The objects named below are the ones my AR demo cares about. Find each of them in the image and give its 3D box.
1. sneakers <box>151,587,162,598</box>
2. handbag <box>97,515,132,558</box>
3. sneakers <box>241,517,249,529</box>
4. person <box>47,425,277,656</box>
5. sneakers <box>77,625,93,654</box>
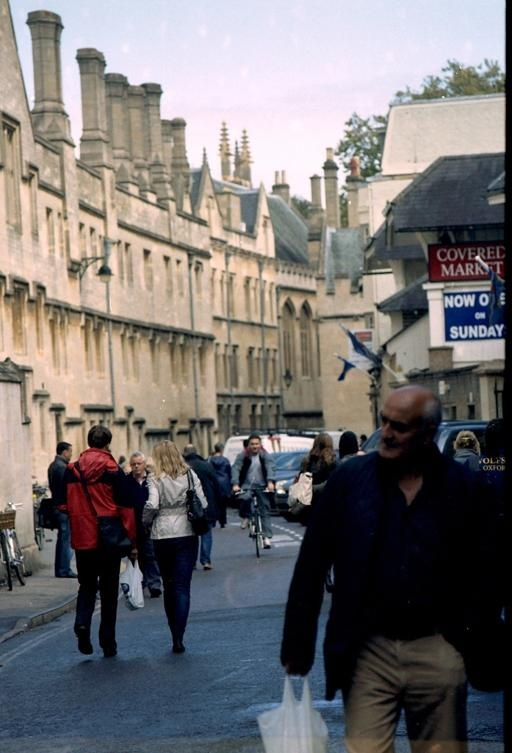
[{"bbox_3d":[-1.087,2.382,14.560,0.072,0.143,0.126,5,8,33],"label":"sneakers"},{"bbox_3d":[-1.049,1.160,9.634,0.199,0.297,0.154,-12,6,-6],"label":"handbag"},{"bbox_3d":[-0.174,2.268,20.359,0.082,0.122,0.292,-16,-11,1],"label":"sneakers"},{"bbox_3d":[-0.960,1.209,10.123,1.025,1.529,1.146,-7,2,-10],"label":"person"},{"bbox_3d":[-1.260,1.939,9.602,0.077,0.275,0.106,-7,22,0],"label":"sneakers"}]
